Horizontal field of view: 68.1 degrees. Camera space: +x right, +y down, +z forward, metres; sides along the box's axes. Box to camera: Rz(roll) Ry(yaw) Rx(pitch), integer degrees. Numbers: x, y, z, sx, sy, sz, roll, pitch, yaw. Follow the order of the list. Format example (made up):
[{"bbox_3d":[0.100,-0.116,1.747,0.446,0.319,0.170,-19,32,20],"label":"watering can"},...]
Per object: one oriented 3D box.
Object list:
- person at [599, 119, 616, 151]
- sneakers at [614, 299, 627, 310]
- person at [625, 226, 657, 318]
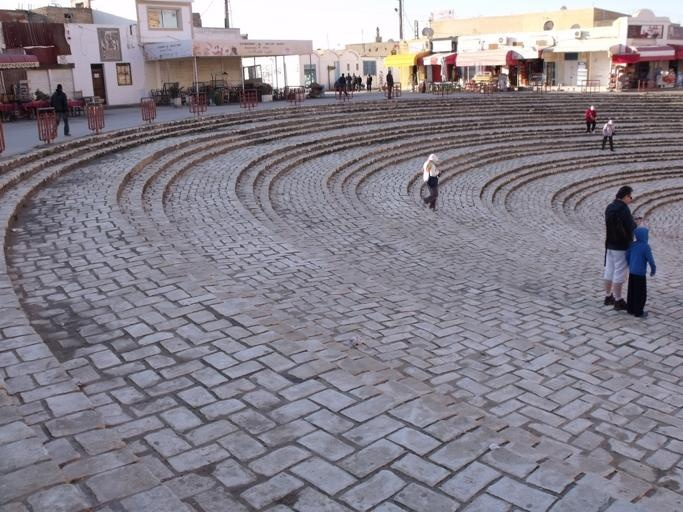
[{"bbox_3d":[12.406,-5.597,23.402,0.528,1.382,1.816,7,21,26],"label":"person"},{"bbox_3d":[4.135,0.730,7.505,0.243,0.146,0.078,-22,29,-25],"label":"sneakers"},{"bbox_3d":[4.337,0.254,7.353,0.369,1.295,0.626,8,23,28],"label":"person"}]
